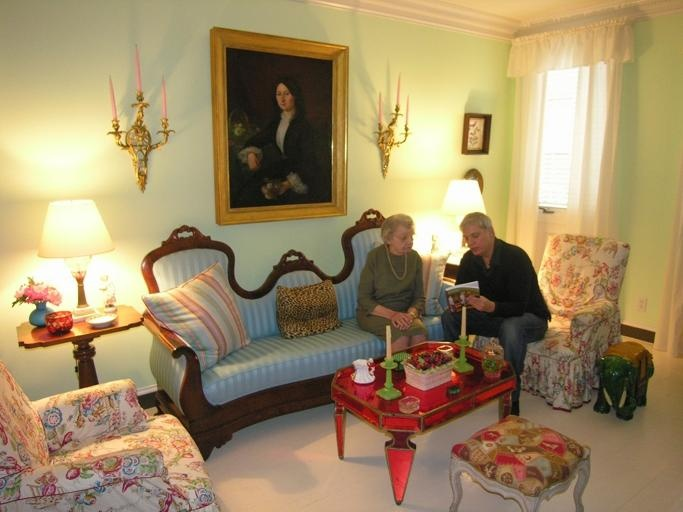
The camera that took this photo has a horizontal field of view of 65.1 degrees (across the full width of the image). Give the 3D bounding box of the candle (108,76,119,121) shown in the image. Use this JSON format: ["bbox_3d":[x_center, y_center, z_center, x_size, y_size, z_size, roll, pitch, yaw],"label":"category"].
[{"bbox_3d":[-1.674,-1.154,3.912,0.043,0.304,0.120,-7,14,-21],"label":"candle"}]

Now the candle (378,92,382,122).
[{"bbox_3d":[0.372,-1.432,5.164,0.039,0.270,0.097,2,13,15],"label":"candle"}]

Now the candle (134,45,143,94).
[{"bbox_3d":[-1.504,-1.374,3.947,0.055,0.338,0.165,-6,13,-19],"label":"candle"}]

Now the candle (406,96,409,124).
[{"bbox_3d":[0.655,-1.460,5.333,0.036,0.269,0.146,1,13,11],"label":"candle"}]

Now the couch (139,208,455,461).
[{"bbox_3d":[-0.232,0.491,4.428,2.459,1.545,0.814,-9,11,-28],"label":"couch"}]

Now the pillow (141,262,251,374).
[{"bbox_3d":[-1.107,0.468,3.926,0.317,0.598,0.720,-4,13,30],"label":"pillow"}]

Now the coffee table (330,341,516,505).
[{"bbox_3d":[0.415,0.783,3.547,1.142,0.662,0.781,-11,16,-38],"label":"coffee table"}]

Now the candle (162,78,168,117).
[{"bbox_3d":[-1.359,-1.203,4.085,0.056,0.281,0.124,-5,13,-14],"label":"candle"}]

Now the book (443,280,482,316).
[{"bbox_3d":[0.876,0.282,3.894,0.197,0.071,0.296,-6,-28,10],"label":"book"}]

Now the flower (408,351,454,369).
[{"bbox_3d":[0.590,0.691,3.569,0.156,0.051,0.144,-5,5,-33],"label":"flower"}]

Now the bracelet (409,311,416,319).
[{"bbox_3d":[0.586,0.487,4.413,0.049,0.049,0.051,8,18,2],"label":"bracelet"}]

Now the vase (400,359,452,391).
[{"bbox_3d":[0.588,0.794,3.566,0.247,0.094,0.178,-5,8,-39],"label":"vase"}]

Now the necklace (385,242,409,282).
[{"bbox_3d":[0.479,0.041,4.525,0.151,0.302,0.050,-9,-4,-18],"label":"necklace"}]

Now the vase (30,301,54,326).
[{"bbox_3d":[-2.061,0.383,3.723,0.175,0.178,0.166,-5,16,-30],"label":"vase"}]

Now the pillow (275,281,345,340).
[{"bbox_3d":[-0.291,0.456,4.441,0.379,0.297,0.134,-13,14,-32],"label":"pillow"}]

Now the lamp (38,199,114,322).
[{"bbox_3d":[-1.851,0.025,3.767,0.468,0.819,0.374,-7,14,-23],"label":"lamp"}]

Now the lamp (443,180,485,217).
[{"bbox_3d":[1.257,-0.601,5.564,0.384,0.416,0.398,-2,17,6],"label":"lamp"}]
